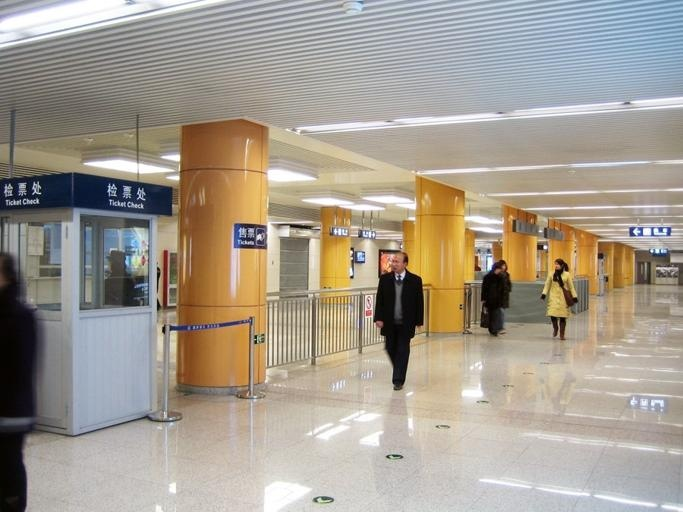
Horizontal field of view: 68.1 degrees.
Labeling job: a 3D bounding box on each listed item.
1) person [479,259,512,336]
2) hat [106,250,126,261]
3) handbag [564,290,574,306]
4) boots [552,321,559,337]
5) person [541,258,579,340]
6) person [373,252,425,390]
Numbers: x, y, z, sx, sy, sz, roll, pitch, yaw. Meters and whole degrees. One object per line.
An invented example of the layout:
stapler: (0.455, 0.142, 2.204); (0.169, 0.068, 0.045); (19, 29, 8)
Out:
person: (4.511, 1.232, 14.701); (0.802, 2.145, 0.661); (0, 0, 1)
hat: (-2.812, -0.008, 6.320); (0.032, 0.113, 0.134); (2, -4, 38)
handbag: (6.164, 1.141, 13.569); (0.262, 0.416, 0.255); (0, 0, 42)
boots: (6.085, 2.072, 14.307); (0.175, 0.517, 0.238); (3, 7, 23)
person: (6.027, 1.190, 13.988); (0.857, 2.189, 1.194); (0, 0, 20)
person: (0.909, 1.058, 8.084); (0.782, 2.214, 0.592); (0, 0, 9)
